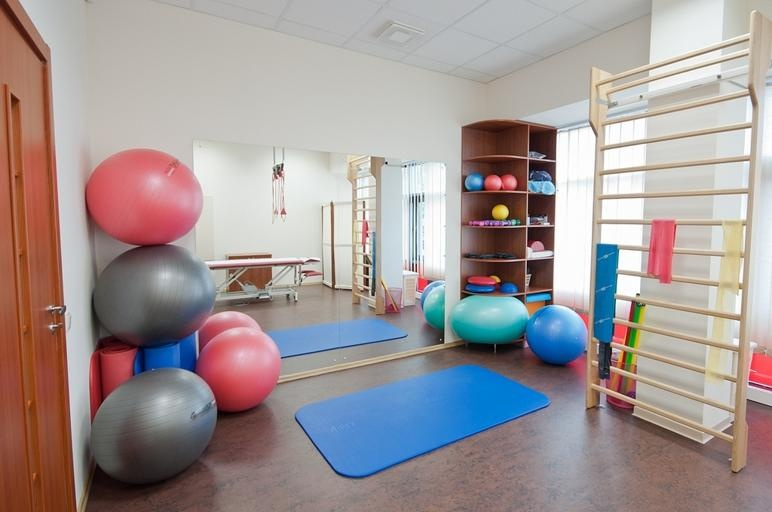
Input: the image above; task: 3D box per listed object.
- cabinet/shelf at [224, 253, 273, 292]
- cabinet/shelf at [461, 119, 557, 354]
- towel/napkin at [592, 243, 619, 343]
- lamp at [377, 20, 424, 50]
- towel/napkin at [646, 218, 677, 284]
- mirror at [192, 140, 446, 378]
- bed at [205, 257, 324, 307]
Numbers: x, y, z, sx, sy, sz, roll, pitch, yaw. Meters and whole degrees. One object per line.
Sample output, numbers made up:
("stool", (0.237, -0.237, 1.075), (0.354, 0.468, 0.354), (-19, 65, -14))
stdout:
("cabinet/shelf", (-1.463, 0.214, 5.212), (0.460, 0.419, 0.166), (3, 20, 20))
("cabinet/shelf", (1.590, -0.447, 6.272), (1.135, 2.443, 0.684), (-3, 5, -30))
("towel/napkin", (2.036, 0.350, 4.546), (0.199, 0.909, 0.202), (2, 5, 23))
("lamp", (0.123, -2.330, 5.120), (0.444, 0.103, 0.360), (-2, 4, -21))
("towel/napkin", (2.387, -0.042, 4.244), (0.197, 0.546, 0.169), (3, 6, 34))
("mirror", (-0.995, 0.179, 6.323), (2.880, 2.766, 2.059), (-4, 7, -32))
("bed", (-1.389, 0.263, 5.244), (1.217, 0.442, 0.380), (0, 7, -29))
